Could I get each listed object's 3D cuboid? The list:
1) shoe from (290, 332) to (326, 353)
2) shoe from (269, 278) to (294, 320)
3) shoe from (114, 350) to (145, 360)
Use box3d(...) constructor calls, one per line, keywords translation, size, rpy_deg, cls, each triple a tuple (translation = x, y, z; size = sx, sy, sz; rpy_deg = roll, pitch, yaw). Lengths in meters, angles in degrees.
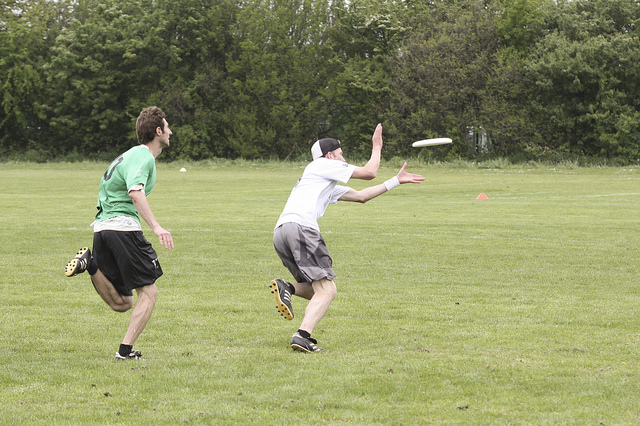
box3d(translation=(-0.361, 2.357, 15.949), size=(0.824, 0.317, 0.263), rpy_deg=(13, -10, -13), cls="shoe")
box3d(translation=(-0.704, 1.553, 15.842), size=(0.413, 0.735, 0.297), rpy_deg=(1, 7, -8), cls="shoe")
box3d(translation=(-3.422, 2.510, 15.684), size=(0.480, 0.191, 0.163), rpy_deg=(-4, 4, -15), cls="shoe")
